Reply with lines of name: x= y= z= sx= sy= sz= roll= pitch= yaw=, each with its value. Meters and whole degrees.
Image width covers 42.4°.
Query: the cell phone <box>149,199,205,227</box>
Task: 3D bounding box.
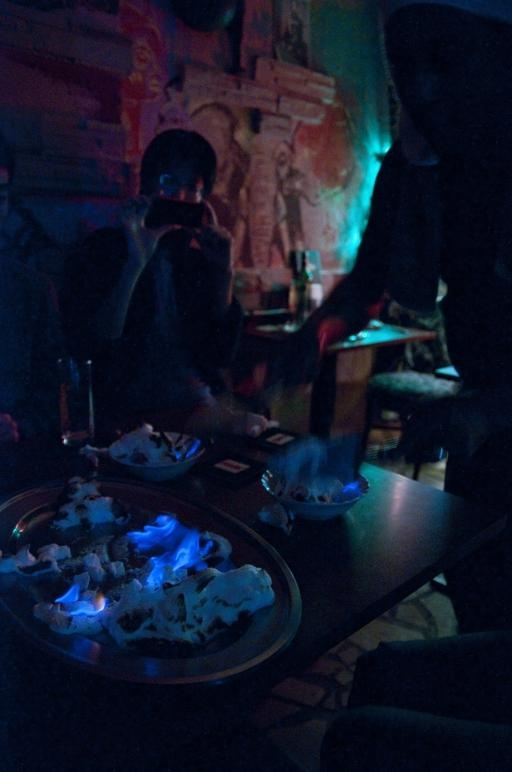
cell phone: x=-0.266 y=-0.526 z=2.007 sx=0.282 sy=0.076 sz=0.122 roll=12 pitch=11 yaw=44
